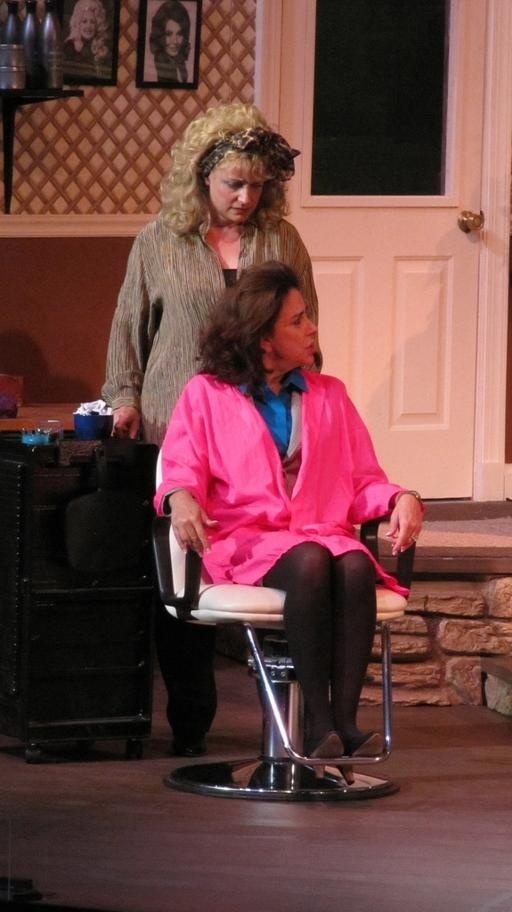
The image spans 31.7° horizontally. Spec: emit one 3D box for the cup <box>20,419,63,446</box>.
[{"bbox_3d":[-0.417,-0.044,1.785,0.087,0.060,0.081,1,-5,0],"label":"cup"}]

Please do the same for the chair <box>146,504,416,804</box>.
[{"bbox_3d":[0.039,0.357,1.700,0.460,0.520,0.482,3,-14,-12],"label":"chair"}]

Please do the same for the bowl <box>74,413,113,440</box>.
[{"bbox_3d":[-0.338,-0.056,1.828,0.059,0.036,0.062,-1,-3,0],"label":"bowl"}]

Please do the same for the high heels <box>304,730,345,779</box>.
[{"bbox_3d":[0.107,0.468,1.409,0.039,0.044,0.110,2,-36,-6],"label":"high heels"}]
